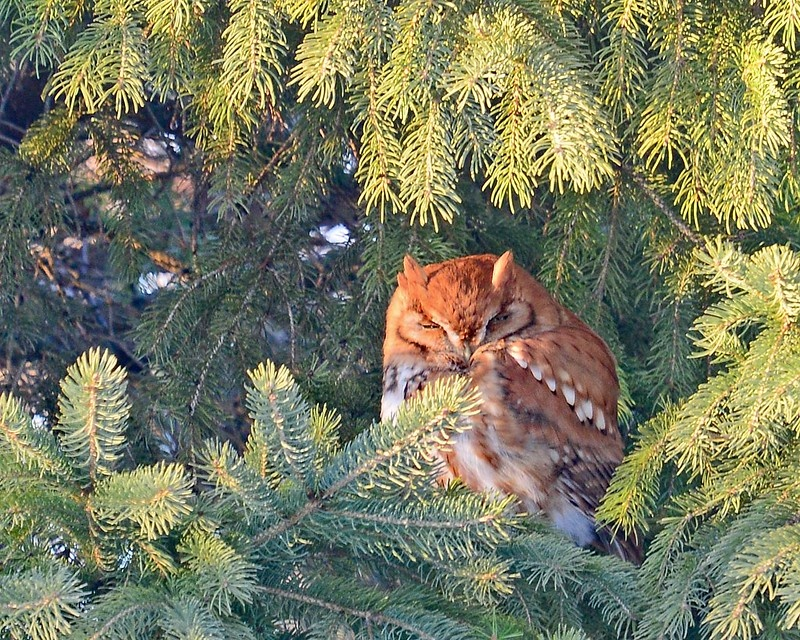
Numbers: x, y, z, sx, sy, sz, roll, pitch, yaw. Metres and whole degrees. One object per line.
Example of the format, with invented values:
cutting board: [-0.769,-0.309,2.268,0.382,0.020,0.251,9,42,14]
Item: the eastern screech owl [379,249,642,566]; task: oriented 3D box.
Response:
eastern screech owl: [0.301,0.393,6.210,0.912,1.278,0.792,3,-13,-14]
